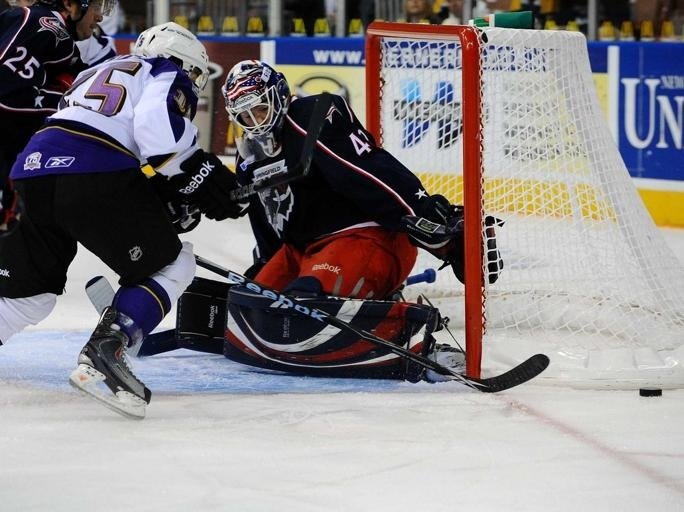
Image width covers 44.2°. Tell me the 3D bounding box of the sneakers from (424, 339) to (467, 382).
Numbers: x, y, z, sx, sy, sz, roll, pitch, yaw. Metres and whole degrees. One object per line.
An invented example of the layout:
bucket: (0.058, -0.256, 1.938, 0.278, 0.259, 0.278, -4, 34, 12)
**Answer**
sneakers: (0.363, 0.360, 2.906, 0.112, 0.043, 0.138, 6, 13, -23)

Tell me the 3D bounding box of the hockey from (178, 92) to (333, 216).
hockey: (-0.212, -0.384, 2.771, 0.422, 0.105, 0.420, -23, 9, 24)

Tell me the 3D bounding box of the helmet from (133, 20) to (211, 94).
helmet: (-0.571, -0.677, 2.881, 0.240, 0.207, 0.203, 3, 5, -33)

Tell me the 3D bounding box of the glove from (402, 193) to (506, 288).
glove: (0.393, -0.056, 2.910, 0.320, 0.137, 0.318, 35, -12, 26)
